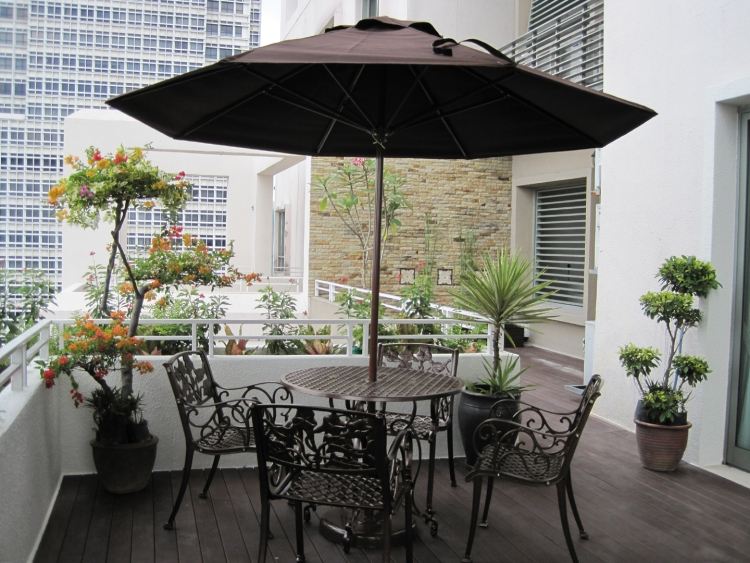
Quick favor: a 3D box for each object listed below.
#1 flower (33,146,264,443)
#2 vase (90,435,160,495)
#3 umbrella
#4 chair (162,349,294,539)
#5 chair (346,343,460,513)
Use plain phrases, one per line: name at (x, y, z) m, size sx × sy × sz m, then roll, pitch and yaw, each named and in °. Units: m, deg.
flower at (-1.771, -0.224, 4.430) m, size 0.903 × 1.325 × 0.738 m, roll -12°, pitch 8°, yaw -17°
vase at (-1.747, 1.273, 4.309) m, size 0.454 × 0.348 × 0.474 m, roll 2°, pitch 1°, yaw -19°
umbrella at (0.034, -0.412, 3.581) m, size 2.685 × 2.031 × 1.828 m, roll 1°, pitch 4°, yaw -5°
chair at (-0.922, 1.029, 4.035) m, size 0.762 × 1.043 × 0.725 m, roll 2°, pitch 1°, yaw 6°
chair at (0.410, 0.953, 4.462) m, size 0.878 × 1.453 × 0.948 m, roll 1°, pitch 0°, yaw 20°
